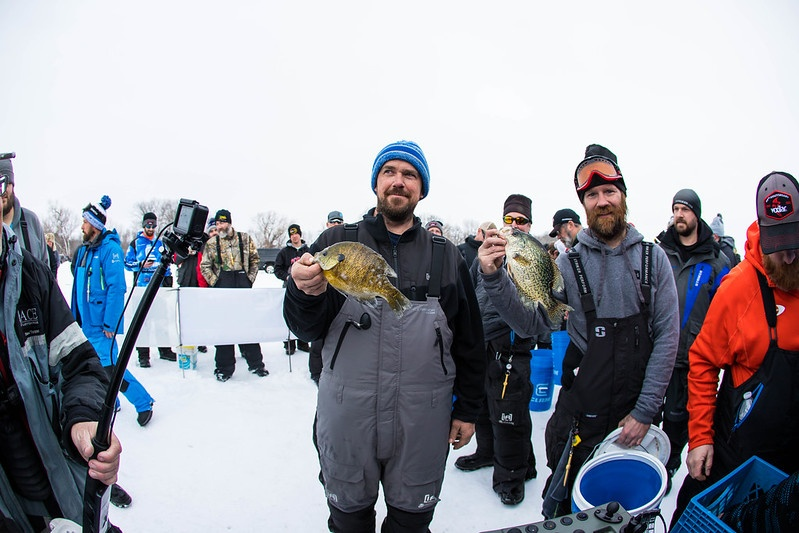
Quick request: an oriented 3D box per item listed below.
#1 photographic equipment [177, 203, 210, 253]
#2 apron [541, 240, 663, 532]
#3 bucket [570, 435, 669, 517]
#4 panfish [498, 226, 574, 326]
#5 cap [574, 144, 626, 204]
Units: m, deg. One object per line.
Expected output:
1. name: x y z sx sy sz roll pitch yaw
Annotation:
1. photographic equipment: -1.413 -0.327 3.160 0.162 0.235 0.149 18 1 6
2. apron: 1.894 1.197 4.275 0.820 2.596 0.647 -5 10 1
3. bucket: 1.652 1.596 3.629 0.534 0.553 0.586 36 -14 11
4. panfish: 1.154 0.112 4.036 0.691 0.906 0.238 -1 3 -21
5. cap: 1.880 -0.874 4.400 0.335 0.407 0.518 -12 -23 36
